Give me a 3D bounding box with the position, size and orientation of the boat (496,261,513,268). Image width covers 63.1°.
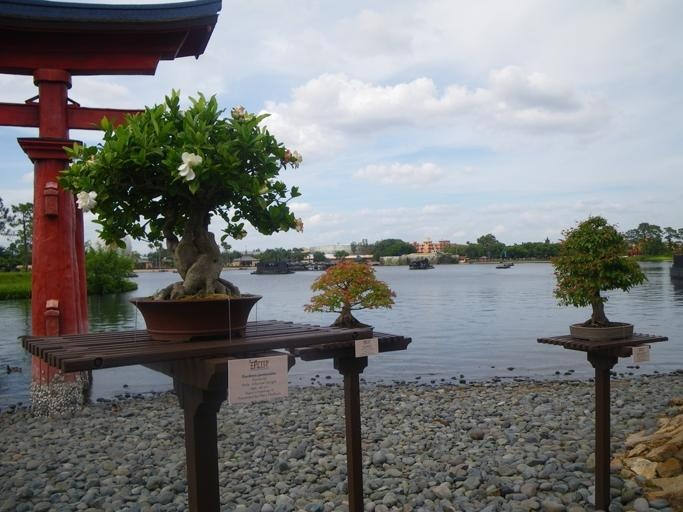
[{"bbox_3d":[51.815,2.518,175.986,1.792,2.955,10.732,6,2,43],"label":"boat"}]

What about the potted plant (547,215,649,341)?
[{"bbox_3d":[3.998,0.362,9.008,1.549,1.954,1.412,-3,-2,35],"label":"potted plant"}]

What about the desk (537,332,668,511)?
[{"bbox_3d":[3.532,2.265,7.558,1.366,2.387,0.741,3,-1,-6],"label":"desk"}]

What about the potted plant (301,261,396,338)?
[{"bbox_3d":[0.192,1.142,18.366,2.570,1.729,2.437,0,-6,-6],"label":"potted plant"}]
